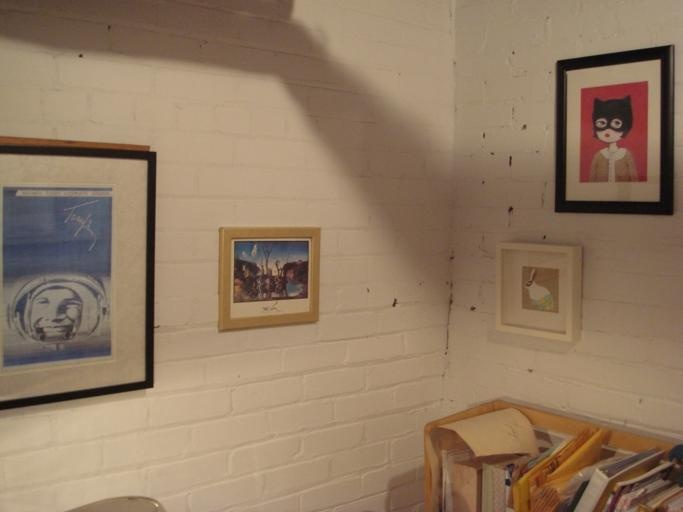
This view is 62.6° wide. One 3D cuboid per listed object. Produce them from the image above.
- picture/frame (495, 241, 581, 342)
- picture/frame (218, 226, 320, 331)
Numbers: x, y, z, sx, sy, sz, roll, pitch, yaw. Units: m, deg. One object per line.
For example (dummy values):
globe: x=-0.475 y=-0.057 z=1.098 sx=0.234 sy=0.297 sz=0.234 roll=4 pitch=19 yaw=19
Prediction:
picture/frame: x=0.677 y=0.113 z=1.894 sx=0.103 sy=0.401 sz=0.327 roll=3 pitch=-3 yaw=-44
picture/frame: x=-0.244 y=0.065 z=1.800 sx=0.333 sy=0.333 sz=0.025 roll=0 pitch=1 yaw=-29
